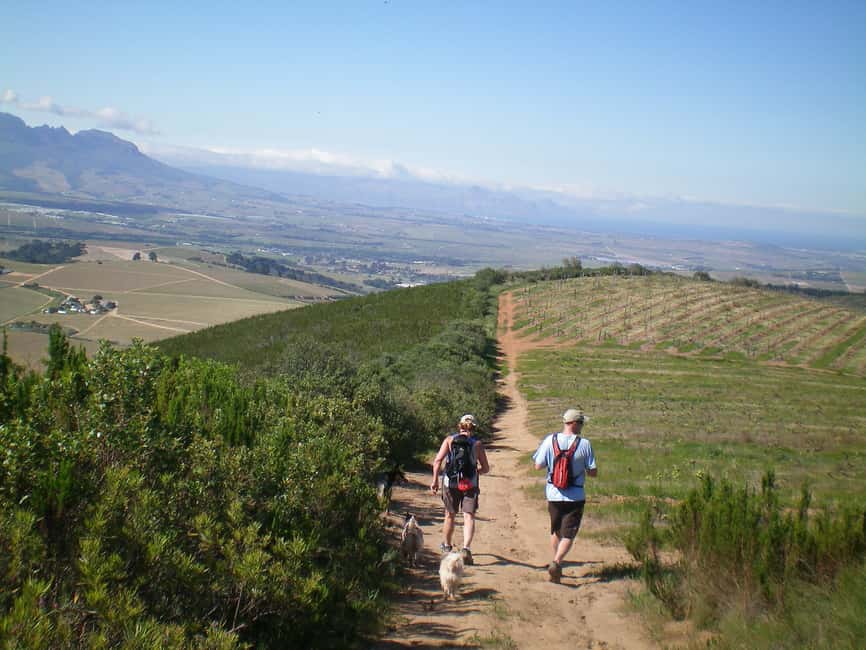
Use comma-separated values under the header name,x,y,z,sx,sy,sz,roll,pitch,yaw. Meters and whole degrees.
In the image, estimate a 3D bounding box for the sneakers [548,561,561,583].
name,x,y,z,sx,sy,sz,roll,pitch,yaw
sneakers,2.035,4.074,11.020,0.165,0.385,0.213,-7,7,17

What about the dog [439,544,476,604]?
name,x,y,z,sx,sy,sz,roll,pitch,yaw
dog,0.337,4.104,10.887,0.337,0.727,1.168,14,-28,7

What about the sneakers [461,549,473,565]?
name,x,y,z,sx,sy,sz,roll,pitch,yaw
sneakers,0.598,4.030,11.650,0.141,0.421,0.169,-9,34,-9

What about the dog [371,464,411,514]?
name,x,y,z,sx,sy,sz,roll,pitch,yaw
dog,-1.150,3.707,15.481,1.197,0.644,0.295,-5,4,-45
